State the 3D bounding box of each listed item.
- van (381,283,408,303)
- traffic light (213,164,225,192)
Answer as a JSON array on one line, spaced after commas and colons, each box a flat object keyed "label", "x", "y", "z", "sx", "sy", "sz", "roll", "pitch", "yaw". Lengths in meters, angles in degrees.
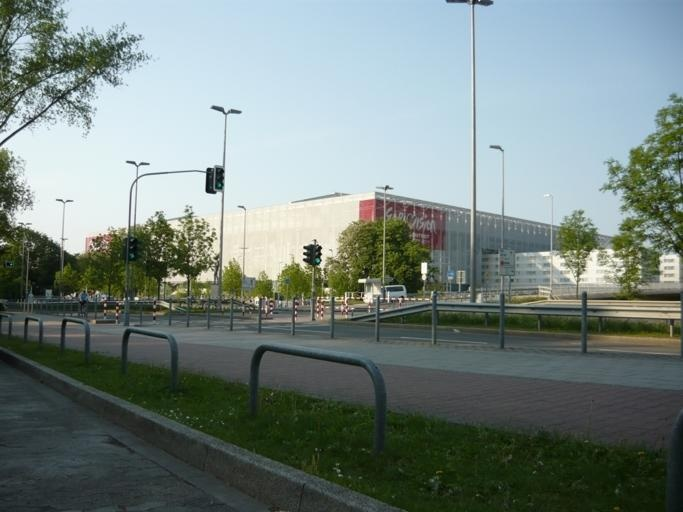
[{"label": "van", "x": 4.430, "y": 3.308, "z": 68.569, "sx": 2.085, "sy": 1.202, "sz": 1.318, "roll": 4, "pitch": -7, "yaw": -33}, {"label": "traffic light", "x": -4.805, "y": -3.004, "z": 30.390, "sx": 0.367, "sy": 1.096, "sz": 0.825, "roll": 1, "pitch": -4, "yaw": -13}]
